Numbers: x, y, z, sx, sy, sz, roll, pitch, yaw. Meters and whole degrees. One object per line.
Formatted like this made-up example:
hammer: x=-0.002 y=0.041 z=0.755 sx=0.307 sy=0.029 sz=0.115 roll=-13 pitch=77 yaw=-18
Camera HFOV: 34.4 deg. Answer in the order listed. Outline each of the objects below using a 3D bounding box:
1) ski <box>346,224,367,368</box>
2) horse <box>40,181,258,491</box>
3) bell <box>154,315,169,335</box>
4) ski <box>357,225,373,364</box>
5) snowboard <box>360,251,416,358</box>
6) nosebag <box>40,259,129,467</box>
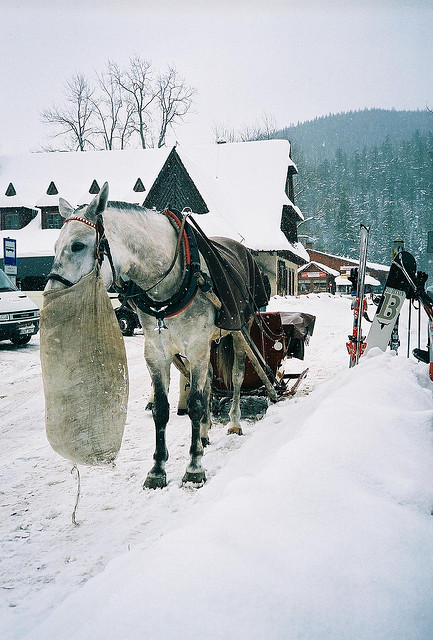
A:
ski: x=1.405 y=-0.152 z=6.955 sx=0.258 sy=1.611 sz=0.214 roll=-2 pitch=6 yaw=-5
horse: x=-0.215 y=0.144 z=4.772 sx=0.538 sy=1.861 sz=2.378 roll=-3 pitch=0 yaw=30
bell: x=-0.354 y=0.024 z=4.476 sx=0.070 sy=0.085 sz=0.074 roll=-9 pitch=14 yaw=-20
ski: x=1.469 y=-0.255 z=6.969 sx=0.202 sy=1.351 sz=0.160 roll=-2 pitch=2 yaw=7
snowboard: x=1.827 y=-0.196 z=7.584 sx=0.501 sy=1.390 sz=0.654 roll=1 pitch=8 yaw=13
nosebag: x=-0.752 y=0.250 z=3.841 sx=0.431 sy=1.116 sz=0.420 roll=-8 pitch=13 yaw=-42
